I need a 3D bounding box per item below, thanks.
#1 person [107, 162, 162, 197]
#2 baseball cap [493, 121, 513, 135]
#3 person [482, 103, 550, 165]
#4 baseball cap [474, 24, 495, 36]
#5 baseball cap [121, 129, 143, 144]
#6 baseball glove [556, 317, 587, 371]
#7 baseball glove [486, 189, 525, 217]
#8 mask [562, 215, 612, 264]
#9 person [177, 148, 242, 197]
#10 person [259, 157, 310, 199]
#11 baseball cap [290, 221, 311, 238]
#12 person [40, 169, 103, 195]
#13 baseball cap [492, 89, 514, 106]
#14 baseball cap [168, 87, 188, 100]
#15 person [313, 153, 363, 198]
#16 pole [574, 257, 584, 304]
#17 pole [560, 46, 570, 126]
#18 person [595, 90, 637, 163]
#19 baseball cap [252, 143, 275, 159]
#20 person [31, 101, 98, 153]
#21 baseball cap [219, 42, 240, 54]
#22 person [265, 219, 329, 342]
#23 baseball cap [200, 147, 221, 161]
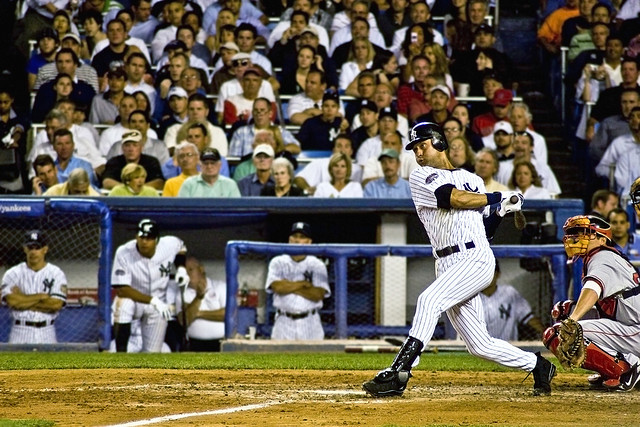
[{"bbox_3d":[-2.858,-0.454,22.605,0.973,0.652,0.446,-1,7,-32],"label":"person"},{"bbox_3d":[3.049,-1.409,23.989,0.300,0.244,0.280,0,-4,6],"label":"baseball cap"},{"bbox_3d":[3.241,-1.287,24.184,0.842,1.439,0.499,-9,-19,23],"label":"person"},{"bbox_3d":[2.976,-3.295,25.968,0.296,0.274,0.479,-1,-4,21],"label":"baseball cap"},{"bbox_3d":[-2.968,-1.207,22.885,0.306,0.252,0.387,1,-4,-8],"label":"baseball cap"},{"bbox_3d":[3.221,1.689,18.529,0.417,0.615,0.273,-3,8,19],"label":"baseball glove"},{"bbox_3d":[2.377,-0.120,18.653,0.457,0.331,0.371,0,-4,8],"label":"baseball glove"},{"bbox_3d":[3.510,0.349,18.981,0.604,0.613,0.313,1,-3,-9],"label":"mask"},{"bbox_3d":[-1.718,-0.589,22.668,1.085,0.851,0.563,1,-3,1],"label":"person"},{"bbox_3d":[-0.554,-0.480,22.599,1.015,0.730,0.486,-1,0,26],"label":"person"},{"bbox_3d":[-0.299,0.265,22.253,0.280,0.229,0.294,1,-4,-2],"label":"baseball cap"},{"bbox_3d":[-3.850,-0.488,22.469,0.886,0.446,0.361,7,36,-24],"label":"person"},{"bbox_3d":[3.117,-1.958,24.570,0.378,0.314,0.264,1,-4,-11],"label":"baseball cap"},{"bbox_3d":[-2.368,-2.001,24.134,0.324,0.211,0.295,1,-4,-7],"label":"baseball cap"},{"bbox_3d":[0.304,-0.548,22.986,0.778,0.787,0.468,3,-3,-4],"label":"person"},{"bbox_3d":[3.946,1.002,22.103,0.107,0.614,0.300,0,-3,7],"label":"pole"},{"bbox_3d":[4.367,-2.272,25.779,0.125,1.472,0.382,0,-3,8],"label":"pole"},{"bbox_3d":[5.036,-1.472,24.338,0.707,1.246,0.426,2,-3,-16],"label":"person"},{"bbox_3d":[-0.863,-0.981,22.717,0.324,0.284,0.375,-2,-5,39],"label":"baseball cap"},{"bbox_3d":[-4.164,-1.427,24.005,1.317,1.202,0.737,0,-6,-5],"label":"person"},{"bbox_3d":[-1.568,-2.877,25.097,0.343,0.188,0.215,1,-4,-8],"label":"baseball cap"},{"bbox_3d":[-0.364,1.430,22.183,0.953,2.481,0.671,-1,7,-4],"label":"person"},{"bbox_3d":[-1.712,-0.917,22.564,0.294,0.226,0.356,1,-4,-5],"label":"baseball cap"}]
